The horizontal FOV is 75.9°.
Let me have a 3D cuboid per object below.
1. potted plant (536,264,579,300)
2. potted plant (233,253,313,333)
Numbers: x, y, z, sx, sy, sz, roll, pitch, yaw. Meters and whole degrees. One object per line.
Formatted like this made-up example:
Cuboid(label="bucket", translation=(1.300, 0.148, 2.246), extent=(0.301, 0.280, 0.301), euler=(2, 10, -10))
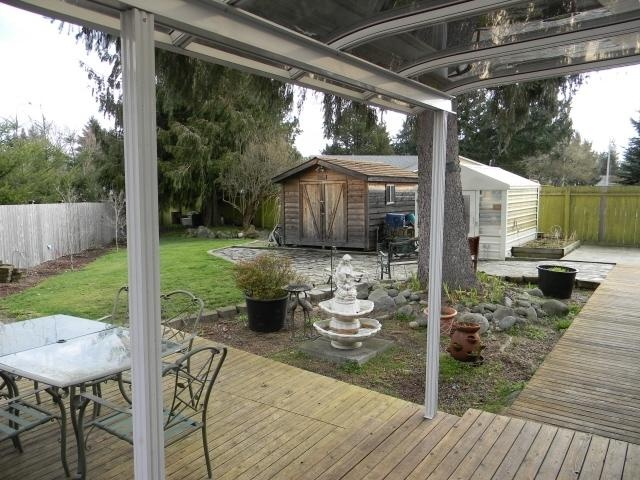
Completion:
Cuboid(label="potted plant", translation=(5.218, 0.938, 9.044), extent=(0.774, 0.510, 0.710), euler=(1, 3, -8))
Cuboid(label="potted plant", translation=(-0.901, 0.917, 6.901), extent=(0.999, 1.287, 0.526), euler=(-5, -5, -14))
